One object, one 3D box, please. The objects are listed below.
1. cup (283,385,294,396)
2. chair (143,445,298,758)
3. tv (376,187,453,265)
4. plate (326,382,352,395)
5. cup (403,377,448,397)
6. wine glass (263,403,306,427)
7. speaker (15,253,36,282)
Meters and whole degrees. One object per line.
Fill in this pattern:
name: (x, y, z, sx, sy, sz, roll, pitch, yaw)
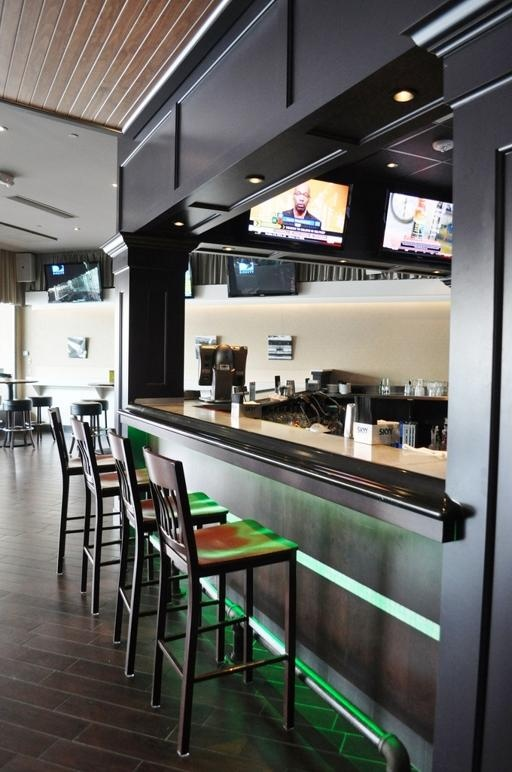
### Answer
cup: (0.268, 0.038, 4.361, 0.070, 0.090, 0.075, 2, 15, -1)
chair: (-0.118, 0.732, 2.041, 0.571, 1.016, 0.691, -1, 2, -11)
tv: (1.334, -1.294, 4.400, 0.758, 0.466, 0.215, -2, 2, -25)
plate: (0.997, 0.039, 6.397, 0.216, 0.093, 0.164, -7, 6, -42)
cup: (1.973, 0.034, 6.211, 0.272, 0.164, 0.382, 2, -2, -25)
wine glass: (0.221, 0.204, 3.605, 0.213, 0.095, 0.161, 3, 3, -14)
speaker: (-4.376, -2.243, 10.268, 0.354, 0.537, 0.299, -1, 2, 8)
